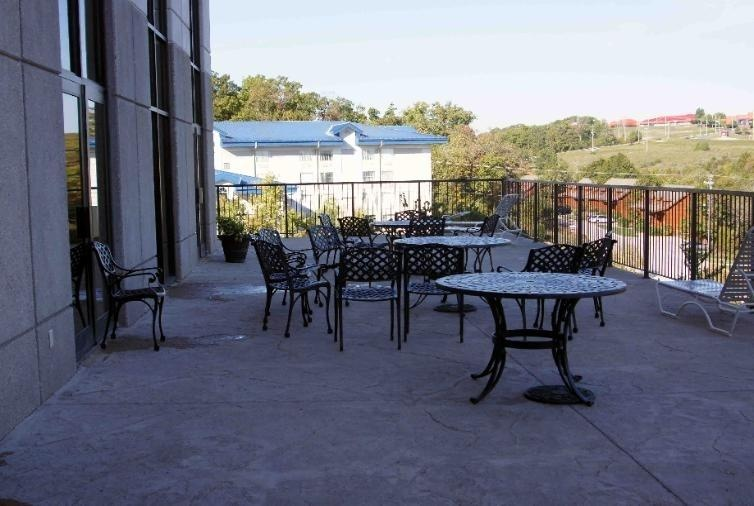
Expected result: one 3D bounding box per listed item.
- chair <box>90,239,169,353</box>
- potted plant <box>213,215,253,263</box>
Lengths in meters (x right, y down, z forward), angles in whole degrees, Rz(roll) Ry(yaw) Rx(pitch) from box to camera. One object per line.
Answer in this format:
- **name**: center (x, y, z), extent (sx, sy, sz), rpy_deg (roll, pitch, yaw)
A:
- **chair**: center (-2.548, 0.414, 6.243), extent (0.687, 0.959, 0.582), rpy_deg (1, 1, -22)
- **potted plant**: center (-2.805, -0.252, 11.843), extent (0.583, 0.838, 0.795), rpy_deg (-4, 10, -15)
